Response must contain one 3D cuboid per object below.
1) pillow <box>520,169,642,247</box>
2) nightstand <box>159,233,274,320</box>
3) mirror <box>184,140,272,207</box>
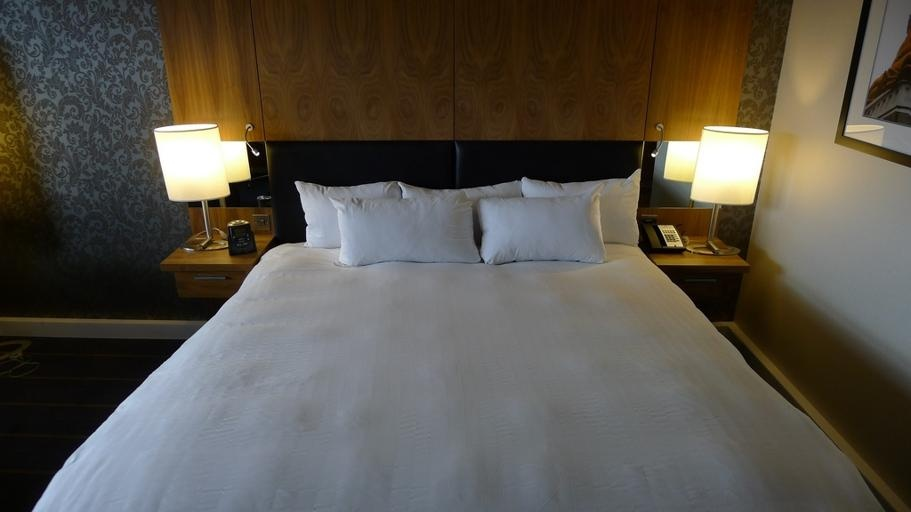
[{"bbox_3d":[0.969,-0.368,4.028,0.641,0.436,0.205,2,-7,5],"label":"pillow"},{"bbox_3d":[-1.997,0.136,4.431,1.004,0.656,0.565,-2,31,-2],"label":"nightstand"},{"bbox_3d":[-1.880,-0.708,4.192,0.523,0.510,0.179,-2,19,-6],"label":"mirror"}]
